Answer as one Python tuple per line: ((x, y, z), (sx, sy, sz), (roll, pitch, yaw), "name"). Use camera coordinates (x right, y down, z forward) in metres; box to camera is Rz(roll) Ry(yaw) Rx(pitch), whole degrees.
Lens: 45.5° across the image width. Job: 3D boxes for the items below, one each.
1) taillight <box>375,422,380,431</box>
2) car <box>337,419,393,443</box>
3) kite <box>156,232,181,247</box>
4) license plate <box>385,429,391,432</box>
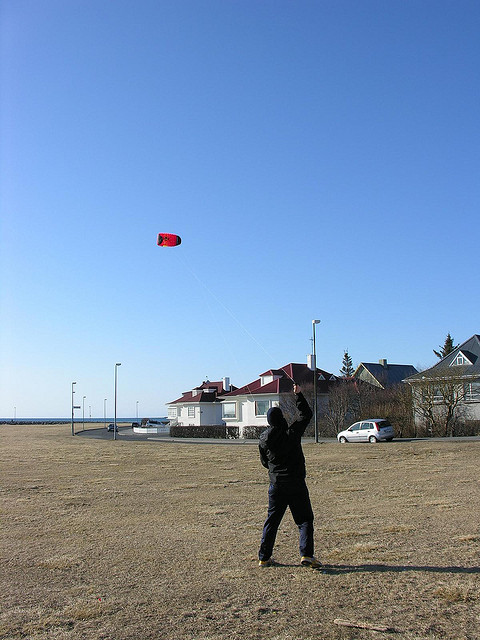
((7.913, 6.127, 32.881), (0.152, 0.393, 0.312), (3, -9, -24), "taillight")
((7.479, 6.592, 33.741), (2.235, 1.392, 1.382), (-3, -7, 39), "car")
((-2.068, -2.288, 16.652), (0.464, 0.499, 0.794), (7, -13, -41), "kite")
((8.529, 6.352, 33.020), (0.551, 0.141, 0.065), (9, -12, -42), "license plate")
